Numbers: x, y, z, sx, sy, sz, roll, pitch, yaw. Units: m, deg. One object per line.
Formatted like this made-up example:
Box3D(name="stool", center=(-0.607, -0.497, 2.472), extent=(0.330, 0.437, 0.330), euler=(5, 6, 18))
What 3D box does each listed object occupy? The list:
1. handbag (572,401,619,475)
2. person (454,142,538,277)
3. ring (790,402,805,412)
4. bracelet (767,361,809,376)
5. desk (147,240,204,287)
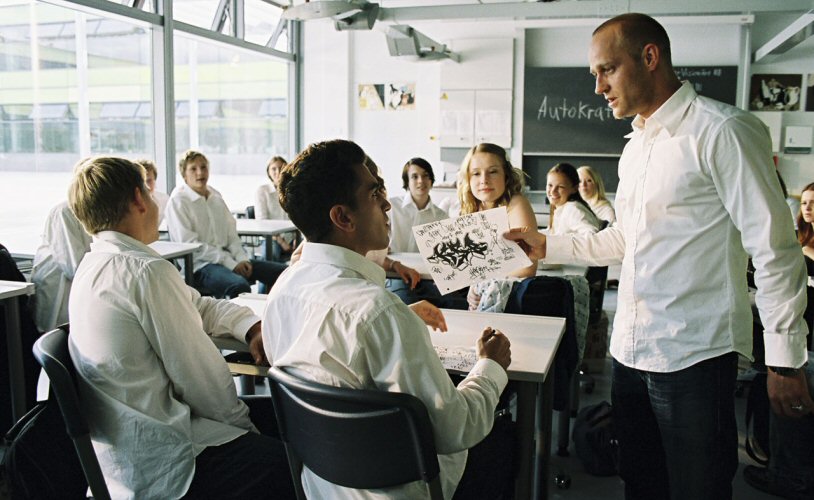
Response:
Box3D(name="handbag", center=(1.078, 1.069, 3.615), extent=(0.329, 0.430, 0.159), euler=(-8, -24, 33))
Box3D(name="person", center=(0.613, -0.229, 4.112), extent=(0.474, 0.851, 0.377), euler=(-12, -8, 31))
Box3D(name="ring", center=(1.498, 0.597, 2.436), extent=(0.037, 0.031, 0.009), euler=(1, 5, 23))
Box3D(name="bracelet", center=(1.491, 0.461, 2.481), extent=(0.114, 0.040, 0.108), euler=(-5, 3, -11))
Box3D(name="desk", center=(-1.424, 0.083, 3.935), extent=(0.295, 0.283, 0.302), euler=(12, 17, 34))
